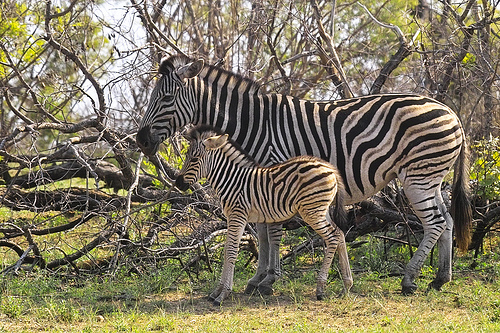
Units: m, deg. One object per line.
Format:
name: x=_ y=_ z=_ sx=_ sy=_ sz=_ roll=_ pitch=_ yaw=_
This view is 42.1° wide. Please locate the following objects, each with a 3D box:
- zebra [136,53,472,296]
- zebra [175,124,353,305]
zebra: x=0.997 y=0.207 z=11.518 sx=5.913 sy=4.233 sz=1.537 roll=1 pitch=-6 yaw=-3
zebra: x=0.246 y=0.771 z=10.948 sx=2.944 sy=2.839 sz=0.902 roll=0 pitch=-5 yaw=9
